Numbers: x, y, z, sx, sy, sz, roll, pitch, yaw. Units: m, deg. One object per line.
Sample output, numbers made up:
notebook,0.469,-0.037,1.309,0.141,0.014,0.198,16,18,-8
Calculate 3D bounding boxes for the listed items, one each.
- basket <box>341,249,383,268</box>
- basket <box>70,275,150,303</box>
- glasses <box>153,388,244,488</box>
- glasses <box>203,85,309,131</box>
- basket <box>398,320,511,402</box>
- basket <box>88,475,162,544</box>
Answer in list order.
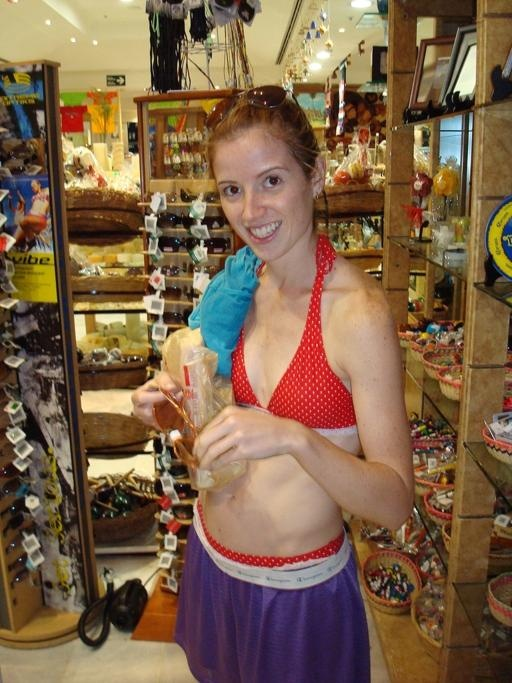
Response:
basket,0.690,-0.532,3.280,0.267,0.109,0.281,-1,7,-3
basket,-0.948,-0.350,3.412,0.348,0.124,0.334,-1,12,-5
glasses,-0.069,0.188,0.877,0.075,0.192,0.105,-36,40,-11
glasses,-0.002,-0.424,0.927,0.173,0.074,0.090,-4,13,-4
basket,0.590,0.057,1.541,0.243,0.070,0.396,1,18,11
basket,-0.675,0.924,3.071,0.339,0.153,0.362,-23,28,-34
